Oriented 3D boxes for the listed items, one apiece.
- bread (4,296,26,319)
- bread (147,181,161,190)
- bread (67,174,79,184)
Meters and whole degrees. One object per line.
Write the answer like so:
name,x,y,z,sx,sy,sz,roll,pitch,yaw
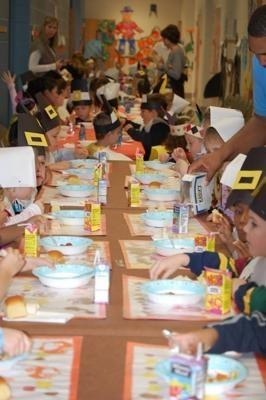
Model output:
bread,-0.347,0.319,0.938,0.061,0.053,0.060,-1,8,-15
bread,0.190,-0.133,2.882,0.102,0.072,0.121,0,-2,0
bread,-0.594,-0.203,3.110,0.114,0.082,0.084,0,5,9
